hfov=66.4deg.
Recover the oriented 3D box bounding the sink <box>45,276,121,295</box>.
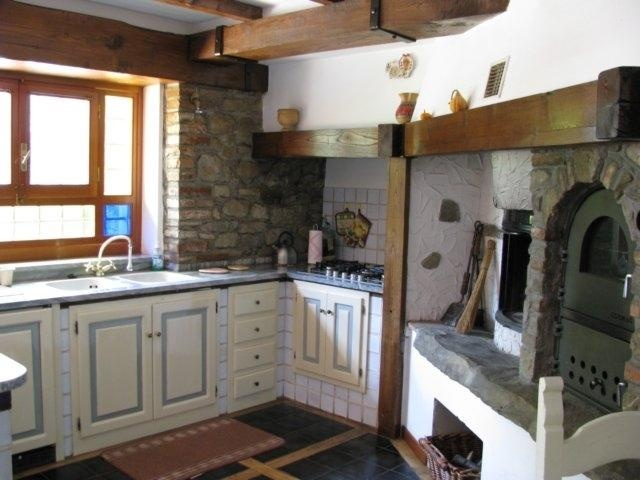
[{"bbox_3d":[-1.861,0.345,3.864,0.290,0.114,0.240,-1,8,-41],"label":"sink"}]

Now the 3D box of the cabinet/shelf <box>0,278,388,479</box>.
[{"bbox_3d":[-0.859,0.960,3.686,2.531,1.249,0.885,-6,12,-29],"label":"cabinet/shelf"}]

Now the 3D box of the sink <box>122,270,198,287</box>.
[{"bbox_3d":[-1.432,0.311,4.174,0.249,0.116,0.314,10,7,43],"label":"sink"}]

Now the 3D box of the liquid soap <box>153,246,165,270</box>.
[{"bbox_3d":[-1.430,0.162,4.350,0.106,0.195,0.086,-6,11,-28],"label":"liquid soap"}]

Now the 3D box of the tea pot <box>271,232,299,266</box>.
[{"bbox_3d":[-0.339,0.090,4.797,0.332,0.362,0.244,-4,9,-35],"label":"tea pot"}]

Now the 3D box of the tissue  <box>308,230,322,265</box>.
[{"bbox_3d":[-0.044,0.068,4.843,0.149,0.326,0.178,-1,10,-2],"label":"tissue "}]
